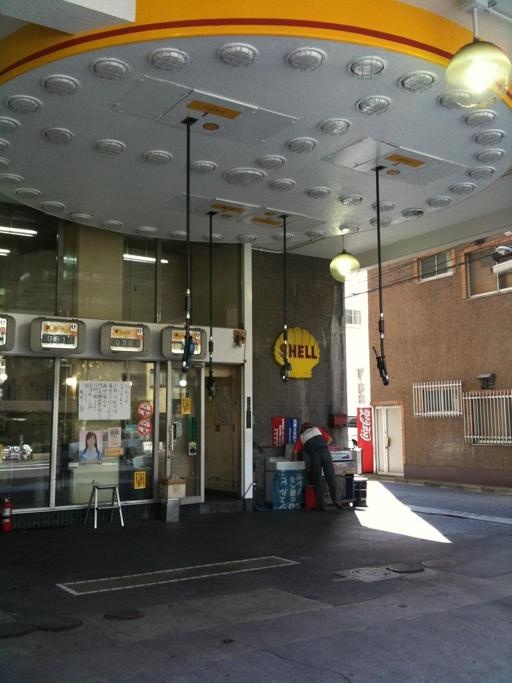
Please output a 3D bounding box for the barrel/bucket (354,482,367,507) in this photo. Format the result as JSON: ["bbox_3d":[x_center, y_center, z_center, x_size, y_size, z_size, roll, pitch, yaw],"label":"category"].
[{"bbox_3d":[1.861,2.739,10.222,0.247,0.464,0.271,0,-11,-2],"label":"barrel/bucket"}]

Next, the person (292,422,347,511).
[{"bbox_3d":[1.078,2.167,9.918,0.775,1.472,0.438,-1,-11,4],"label":"person"}]

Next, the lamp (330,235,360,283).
[{"bbox_3d":[1.199,-1.075,7.731,0.369,0.460,0.438,-2,-10,8],"label":"lamp"}]
